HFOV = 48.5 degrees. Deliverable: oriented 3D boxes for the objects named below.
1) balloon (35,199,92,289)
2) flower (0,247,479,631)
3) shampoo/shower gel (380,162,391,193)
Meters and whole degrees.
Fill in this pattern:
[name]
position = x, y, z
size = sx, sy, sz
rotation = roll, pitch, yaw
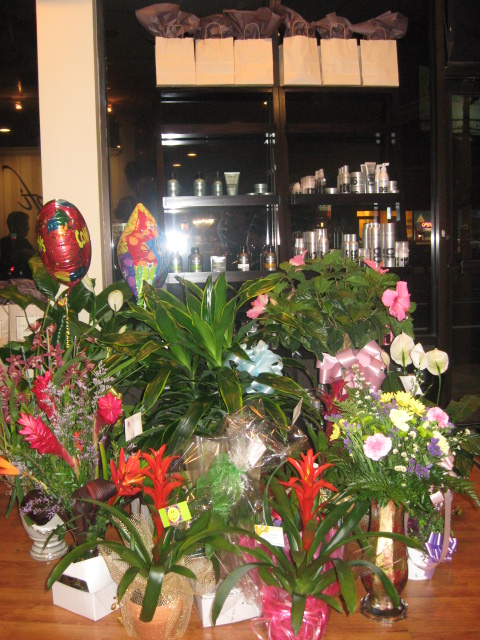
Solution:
[balloon]
position = -0.575, -0.248, 1.760
size = 0.174, 0.288, 0.160
rotation = -11, -4, -24
[flower]
position = -0.115, 0.198, 1.119
size = 0.773, 0.728, 0.427
rotation = -4, 6, -8
[shampoo/shower gel]
position = 0.952, -0.930, 3.479
size = 0.061, 0.206, 0.127
rotation = 1, 2, 30
